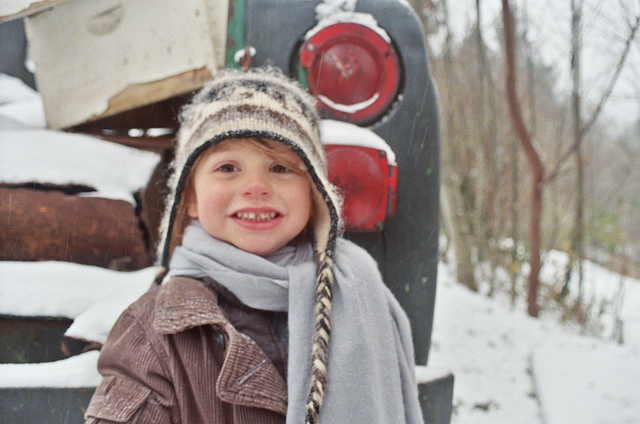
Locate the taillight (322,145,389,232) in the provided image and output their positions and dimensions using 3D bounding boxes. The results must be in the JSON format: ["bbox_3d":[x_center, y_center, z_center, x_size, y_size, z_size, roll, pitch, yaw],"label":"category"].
[{"bbox_3d":[0.192,-0.132,4.702,0.363,0.460,0.097,0,10,0],"label":"taillight"}]
